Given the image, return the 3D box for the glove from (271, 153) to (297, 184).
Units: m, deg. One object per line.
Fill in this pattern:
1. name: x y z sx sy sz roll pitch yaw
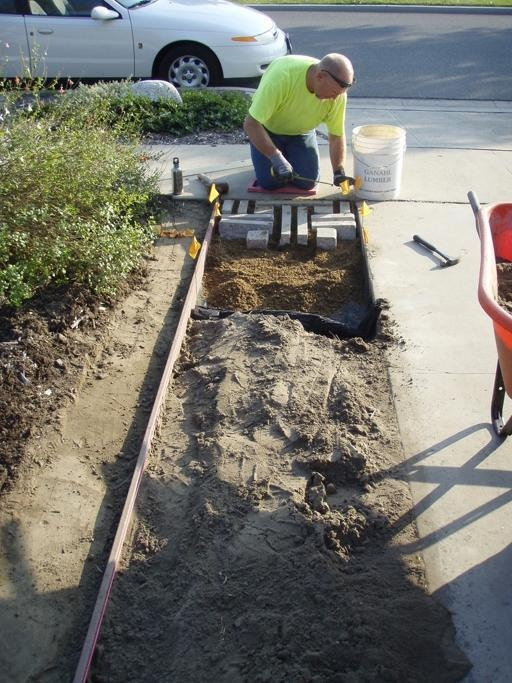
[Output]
1. glove: 0.218 -1.403 4.843 0.192 0.084 0.236 12 59 -28

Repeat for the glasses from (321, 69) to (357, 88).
1. glasses: 0.578 -1.887 4.318 0.157 0.045 0.159 47 33 15

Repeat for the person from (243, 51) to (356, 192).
1. person: 0.352 -1.733 4.990 0.849 1.190 1.029 5 30 5

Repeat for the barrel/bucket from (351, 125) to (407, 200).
1. barrel/bucket: 1.016 -1.528 5.382 0.666 0.653 0.596 0 32 8

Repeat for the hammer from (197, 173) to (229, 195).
1. hammer: -0.398 -1.436 5.562 0.296 0.092 0.277 9 26 -6
